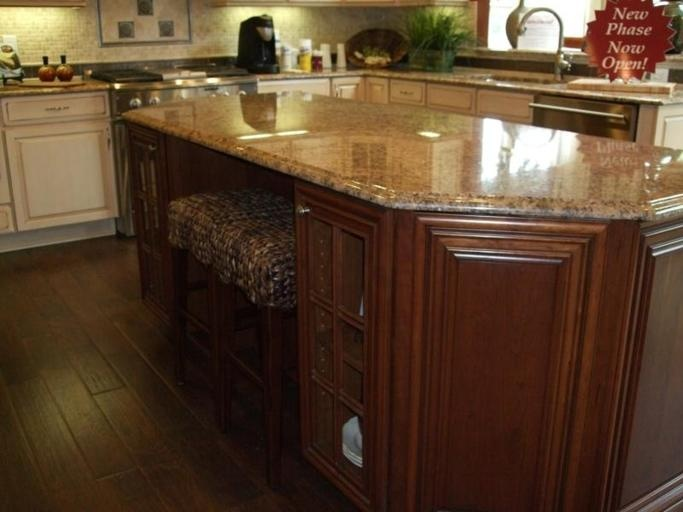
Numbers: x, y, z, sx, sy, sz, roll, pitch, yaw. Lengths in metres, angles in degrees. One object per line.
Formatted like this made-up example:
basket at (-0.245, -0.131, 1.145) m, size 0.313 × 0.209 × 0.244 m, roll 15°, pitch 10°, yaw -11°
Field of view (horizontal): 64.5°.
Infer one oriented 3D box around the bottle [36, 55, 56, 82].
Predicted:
bottle at (-2.124, -1.348, 3.874) m, size 0.108 × 0.171 × 0.380 m, roll -11°, pitch 22°, yaw -25°

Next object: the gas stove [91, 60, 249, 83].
gas stove at (-1.351, -1.472, 4.301) m, size 1.196 × 0.129 × 0.795 m, roll -11°, pitch 22°, yaw -24°

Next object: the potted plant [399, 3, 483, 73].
potted plant at (0.815, -1.961, 4.884) m, size 0.678 × 0.744 × 0.810 m, roll 1°, pitch 25°, yaw -1°

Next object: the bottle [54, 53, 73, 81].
bottle at (-1.996, -1.344, 3.866) m, size 0.119 × 0.172 × 0.104 m, roll 17°, pitch 27°, yaw 41°

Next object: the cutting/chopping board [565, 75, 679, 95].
cutting/chopping board at (1.754, -1.073, 3.405) m, size 0.600 × 0.082 × 0.343 m, roll 12°, pitch 24°, yaw 32°

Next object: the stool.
stool at (-0.401, 0.335, 2.045) m, size 0.461 × 0.711 × 0.806 m, roll -13°, pitch 34°, yaw -31°
